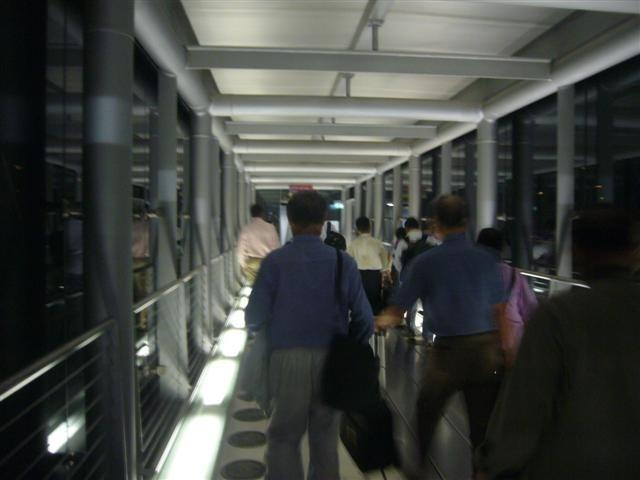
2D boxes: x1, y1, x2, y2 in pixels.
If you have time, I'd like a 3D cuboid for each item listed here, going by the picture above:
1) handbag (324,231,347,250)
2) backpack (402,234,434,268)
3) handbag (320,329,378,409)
[{"bbox_3d":[0.193,0.050,6.341,0.177,0.270,0.250,4,12,-11],"label":"handbag"},{"bbox_3d":[0.850,0.083,4.367,0.292,0.186,0.342,-19,16,22],"label":"backpack"},{"bbox_3d":[0.164,0.658,2.770,0.365,0.612,0.293,1,-5,4],"label":"handbag"}]
